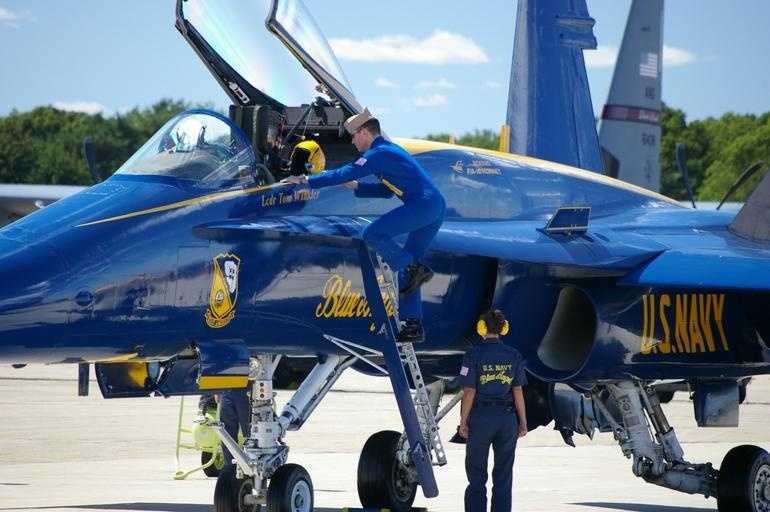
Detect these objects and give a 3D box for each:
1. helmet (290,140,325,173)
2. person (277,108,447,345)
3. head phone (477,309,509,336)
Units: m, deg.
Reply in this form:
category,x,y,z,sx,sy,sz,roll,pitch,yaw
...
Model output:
category,x,y,z,sx,sy,sz,roll,pitch,yaw
helmet,-0.960,-1.195,14.847,0.330,0.391,0.455,2,-10,36
person,-0.012,-0.380,14.453,1.433,2.766,0.665,1,-2,-2
head phone,1.335,0.809,15.064,0.318,0.250,0.144,5,-24,-8
